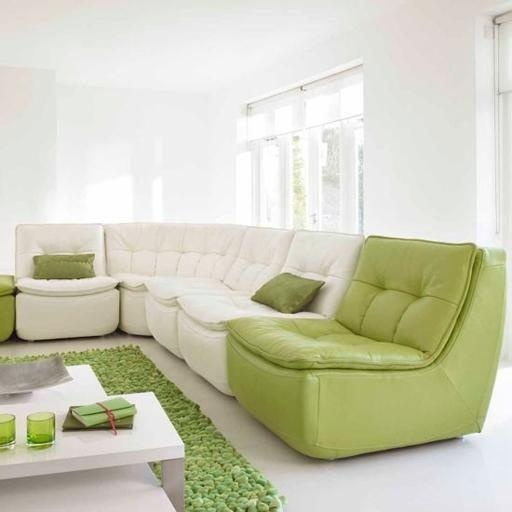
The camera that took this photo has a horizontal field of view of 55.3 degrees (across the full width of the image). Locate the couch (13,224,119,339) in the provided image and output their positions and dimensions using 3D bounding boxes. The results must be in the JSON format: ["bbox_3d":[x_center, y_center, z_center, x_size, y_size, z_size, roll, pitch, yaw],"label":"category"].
[{"bbox_3d":[-1.563,0.183,4.322,0.921,1.034,0.959,-1,5,-22],"label":"couch"}]

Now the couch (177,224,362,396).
[{"bbox_3d":[0.021,0.220,3.119,0.943,1.036,0.964,2,2,-31],"label":"couch"}]

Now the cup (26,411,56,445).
[{"bbox_3d":[-0.576,0.464,1.331,0.066,0.082,0.081,2,-3,-12],"label":"cup"}]

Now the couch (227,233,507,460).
[{"bbox_3d":[0.495,0.360,2.278,1.068,0.883,0.745,0,4,-22],"label":"couch"}]
